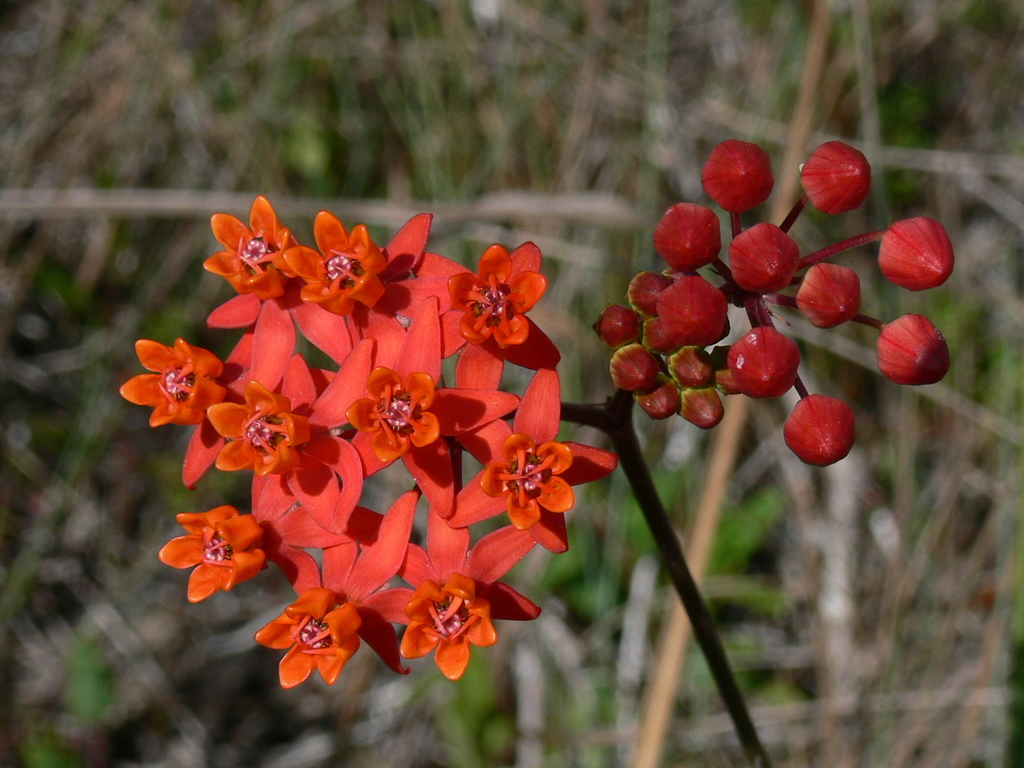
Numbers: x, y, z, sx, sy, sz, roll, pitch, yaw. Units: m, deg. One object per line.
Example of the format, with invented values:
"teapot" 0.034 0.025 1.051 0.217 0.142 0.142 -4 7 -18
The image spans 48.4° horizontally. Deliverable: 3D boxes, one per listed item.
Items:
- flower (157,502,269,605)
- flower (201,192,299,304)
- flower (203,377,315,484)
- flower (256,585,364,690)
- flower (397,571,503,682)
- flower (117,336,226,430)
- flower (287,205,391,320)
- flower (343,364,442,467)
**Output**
"flower" -1.295 0.732 4.914 0.441 0.225 0.379 -26 76 24
"flower" -1.140 -0.623 5.106 0.452 0.374 0.210 39 138 54
"flower" -1.057 0.176 4.880 0.388 0.207 0.406 -34 83 12
"flower" -0.853 1.099 4.865 0.405 0.164 0.450 40 119 11
"flower" -0.266 1.001 4.779 0.370 0.188 0.460 -16 100 6
"flower" -1.469 -0.001 4.994 0.347 0.235 0.453 -3 85 23
"flower" -0.753 -0.516 4.919 0.444 0.154 0.390 23 80 0
"flower" -0.489 0.109 4.773 0.383 0.150 0.371 -21 83 -6
